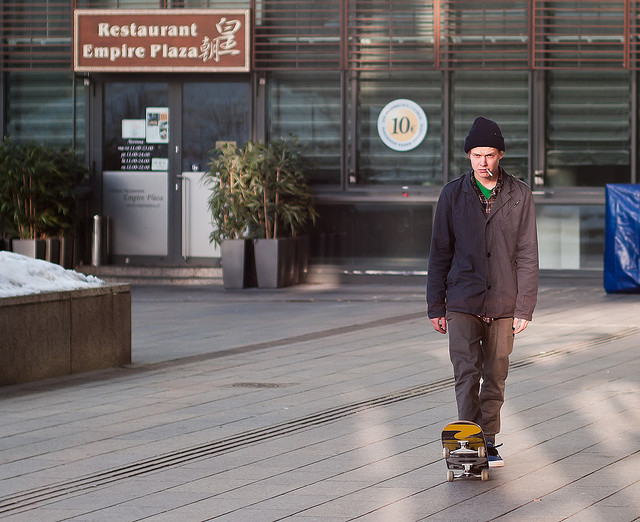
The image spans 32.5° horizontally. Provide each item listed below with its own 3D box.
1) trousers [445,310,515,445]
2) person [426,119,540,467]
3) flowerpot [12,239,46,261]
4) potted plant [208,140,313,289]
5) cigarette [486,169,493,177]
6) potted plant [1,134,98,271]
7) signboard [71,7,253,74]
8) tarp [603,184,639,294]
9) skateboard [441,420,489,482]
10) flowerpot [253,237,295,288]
[{"bbox_3d":[1.058,0.763,7.171,0.444,0.894,0.336,-1,8,-5],"label":"trousers"},{"bbox_3d":[1.068,0.376,7.185,0.711,1.968,0.413,0,8,5],"label":"person"},{"bbox_3d":[-4.198,-0.189,15.882,0.562,0.399,0.551,0,1,-4],"label":"flowerpot"},{"bbox_3d":[-0.948,-0.694,16.909,2.047,2.626,1.969,0,0,3],"label":"potted plant"},{"bbox_3d":[1.101,-0.568,7.078,0.008,0.014,0.055,-20,60,-39],"label":"cigarette"},{"bbox_3d":[-4.079,-0.887,16.815,1.042,2.032,2.376,2,8,18],"label":"potted plant"},{"bbox_3d":[-2.469,-3.426,17.039,2.774,0.952,0.188,0,8,2],"label":"signboard"},{"bbox_3d":[4.283,-0.313,15.472,0.478,1.499,0.655,2,8,14],"label":"tarp"},{"bbox_3d":[0.969,1.191,7.118,0.354,0.378,0.435,1,7,13],"label":"skateboard"},{"bbox_3d":[-0.673,-0.016,16.231,0.487,0.778,0.420,4,10,27],"label":"flowerpot"}]
